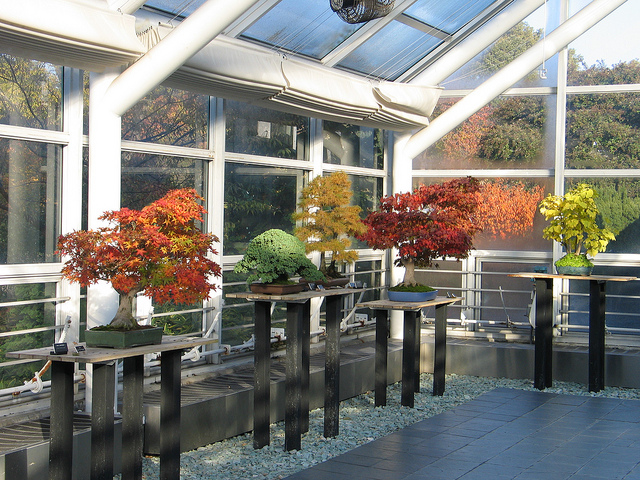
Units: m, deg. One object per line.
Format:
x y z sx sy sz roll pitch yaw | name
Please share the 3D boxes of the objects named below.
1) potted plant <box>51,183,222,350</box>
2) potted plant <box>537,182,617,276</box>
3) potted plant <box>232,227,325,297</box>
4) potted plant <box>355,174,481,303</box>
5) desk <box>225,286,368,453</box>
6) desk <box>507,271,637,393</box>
-1.355 0.205 4.284 0.999 1.123 1.111 3 5 -28 | potted plant
3.266 -0.118 7.509 0.779 1.071 0.924 5 1 22 | potted plant
-0.357 0.177 5.212 0.782 0.544 0.421 0 -1 -18 | potted plant
1.146 -0.048 6.741 1.309 1.377 0.783 0 -1 6 | potted plant
-0.213 1.109 5.304 0.548 1.355 0.895 -1 -2 37 | desk
3.445 1.235 8.020 1.477 1.368 0.631 -1 -4 23 | desk
